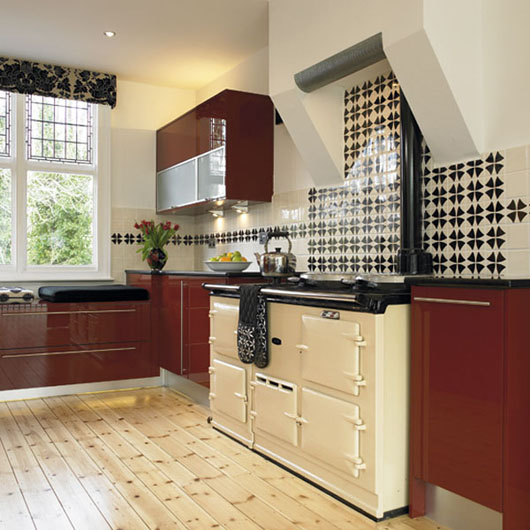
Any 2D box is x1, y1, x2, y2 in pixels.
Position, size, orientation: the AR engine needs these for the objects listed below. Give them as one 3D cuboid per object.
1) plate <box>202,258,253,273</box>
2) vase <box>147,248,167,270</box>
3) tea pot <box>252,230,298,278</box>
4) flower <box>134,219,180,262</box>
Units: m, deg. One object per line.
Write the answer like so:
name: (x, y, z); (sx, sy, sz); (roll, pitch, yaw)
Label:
plate: (-0.293, 0.006, 3.728); (0.343, 0.082, 0.166); (-1, -1, 7)
vase: (-0.945, -0.046, 4.362); (0.193, 0.209, 0.187); (3, -3, 0)
tea pot: (0.036, -0.074, 3.200); (0.336, 0.300, 0.259); (2, 1, 31)
flower: (-0.935, -0.237, 4.441); (0.297, 0.311, 0.322); (-6, 7, 26)
